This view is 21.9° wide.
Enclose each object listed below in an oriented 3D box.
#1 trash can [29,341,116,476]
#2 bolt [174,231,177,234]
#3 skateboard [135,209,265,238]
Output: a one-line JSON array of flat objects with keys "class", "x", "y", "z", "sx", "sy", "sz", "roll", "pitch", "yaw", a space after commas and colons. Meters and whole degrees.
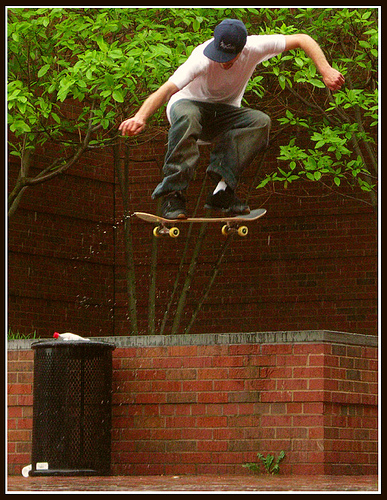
[{"class": "trash can", "x": -1.139, "y": 1.472, "z": 9.299, "sx": 0.774, "sy": 1.242, "sz": 0.547, "roll": 2, "pitch": 2, "yaw": -6}, {"class": "bolt", "x": -0.161, "y": -0.165, "z": 9.119, "sx": 0.038, "sy": 0.022, "sz": 0.009, "roll": 3, "pitch": 3, "yaw": -13}, {"class": "skateboard", "x": 0.092, "y": -0.254, "z": 9.340, "sx": 1.610, "sy": 0.238, "sz": 0.386, "roll": 0, "pitch": 3, "yaw": -18}]
